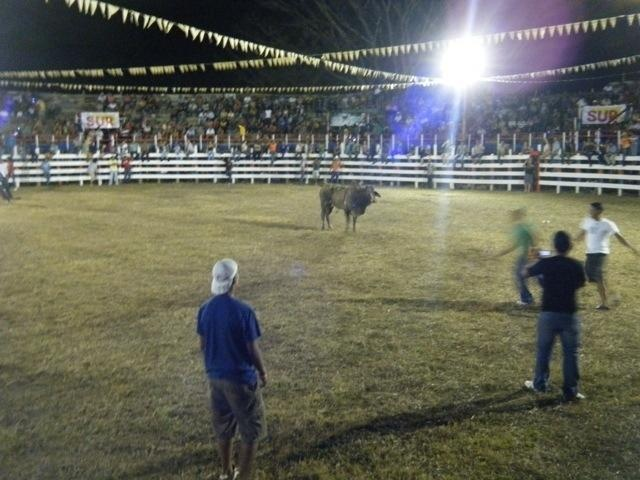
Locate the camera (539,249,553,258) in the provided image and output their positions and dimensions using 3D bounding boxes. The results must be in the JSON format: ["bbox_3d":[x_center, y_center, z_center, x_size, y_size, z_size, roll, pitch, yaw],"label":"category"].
[{"bbox_3d":[3.984,0.239,10.300,0.168,0.137,0.200,-5,2,1],"label":"camera"}]

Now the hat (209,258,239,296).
[{"bbox_3d":[-1.151,0.410,7.032,0.256,0.238,0.434,-2,39,-3],"label":"hat"}]

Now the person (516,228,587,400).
[{"bbox_3d":[3.517,1.114,8.614,0.848,2.356,0.437,4,12,22],"label":"person"}]

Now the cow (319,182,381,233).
[{"bbox_3d":[0.867,-1.059,18.825,1.515,1.673,2.302,-4,14,-15],"label":"cow"}]
